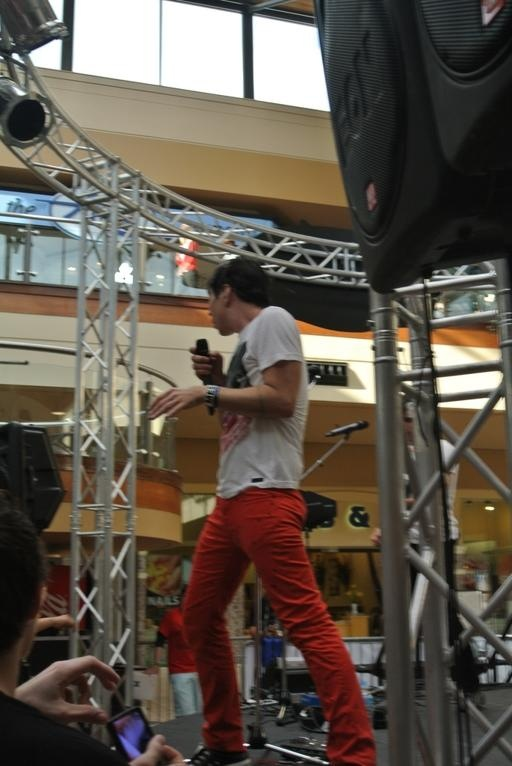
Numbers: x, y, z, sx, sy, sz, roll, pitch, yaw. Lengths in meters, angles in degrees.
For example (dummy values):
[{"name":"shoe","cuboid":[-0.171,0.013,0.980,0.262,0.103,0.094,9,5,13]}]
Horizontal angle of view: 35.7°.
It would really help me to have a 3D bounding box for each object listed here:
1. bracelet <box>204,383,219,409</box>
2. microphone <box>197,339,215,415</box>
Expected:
[{"name":"bracelet","cuboid":[-0.106,0.032,1.908,0.032,0.047,0.032,4,-9,-7]},{"name":"microphone","cuboid":[-0.149,-0.034,2.294,0.059,0.250,0.069,-5,4,0]}]
